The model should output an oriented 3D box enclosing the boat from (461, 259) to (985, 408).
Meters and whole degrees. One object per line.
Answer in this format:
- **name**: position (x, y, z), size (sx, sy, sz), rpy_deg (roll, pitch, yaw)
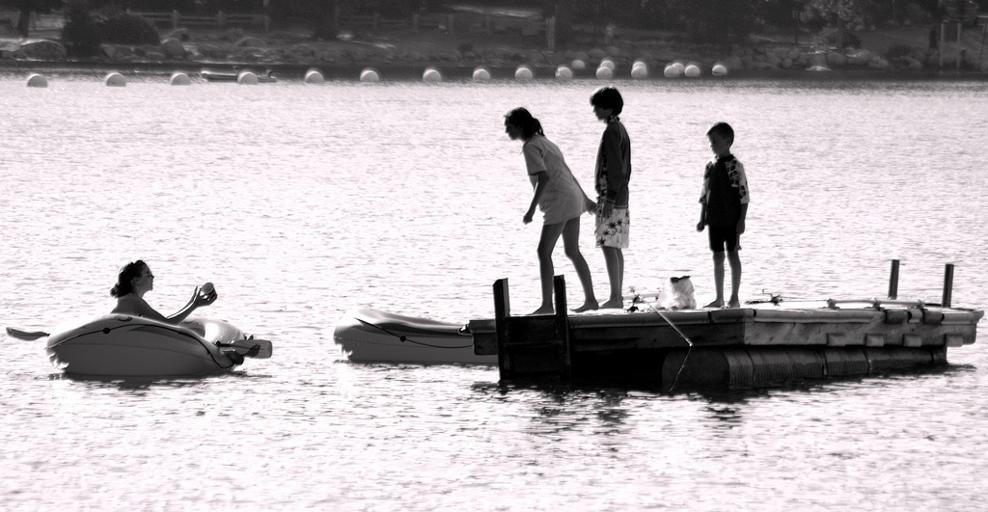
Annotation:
- **boat**: position (7.709, 2.807, 80.405), size (18.562, 4.996, 7.804), rpy_deg (0, 0, 1)
